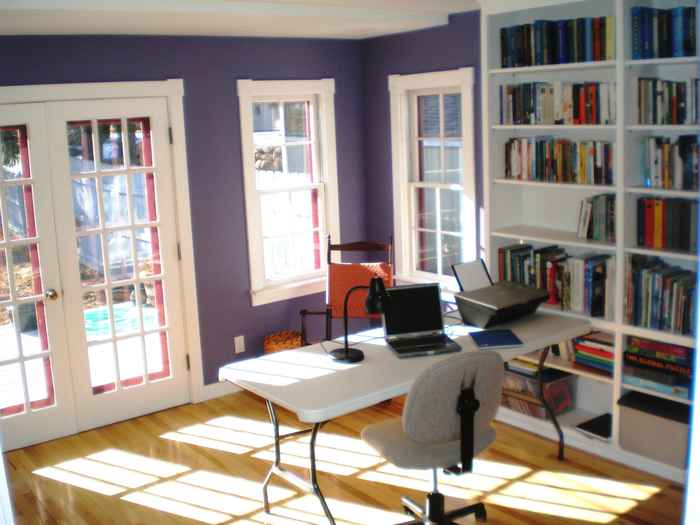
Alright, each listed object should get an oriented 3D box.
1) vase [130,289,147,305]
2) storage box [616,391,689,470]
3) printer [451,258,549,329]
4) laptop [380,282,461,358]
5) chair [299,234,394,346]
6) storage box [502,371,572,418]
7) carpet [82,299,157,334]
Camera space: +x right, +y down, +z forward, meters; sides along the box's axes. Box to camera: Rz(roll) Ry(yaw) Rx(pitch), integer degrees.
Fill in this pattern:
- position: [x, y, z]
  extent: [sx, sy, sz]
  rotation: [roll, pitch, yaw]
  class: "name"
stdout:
- position: [-1.692, 0.271, 4.879]
  extent: [0.106, 0.133, 0.133]
  rotation: [1, -14, 6]
  class: "vase"
- position: [1.990, 1.038, 3.959]
  extent: [0.411, 0.350, 0.397]
  rotation: [6, 10, 33]
  class: "storage box"
- position: [0.989, 0.203, 4.199]
  extent: [0.580, 0.352, 0.552]
  rotation: [-13, 16, -39]
  class: "printer"
- position: [0.431, 0.356, 3.709]
  extent: [0.429, 0.305, 0.360]
  rotation: [-5, 14, -19]
  class: "laptop"
- position: [0.029, 0.201, 5.386]
  extent: [0.903, 1.405, 0.937]
  rotation: [0, 3, 3]
  class: "chair"
- position: [1.424, 0.947, 4.524]
  extent: [0.388, 0.245, 0.385]
  rotation: [-3, 5, -28]
  class: "storage box"
- position: [-1.856, 0.420, 4.797]
  extent: [0.444, 0.251, 0.033]
  rotation: [-10, 13, -37]
  class: "carpet"
